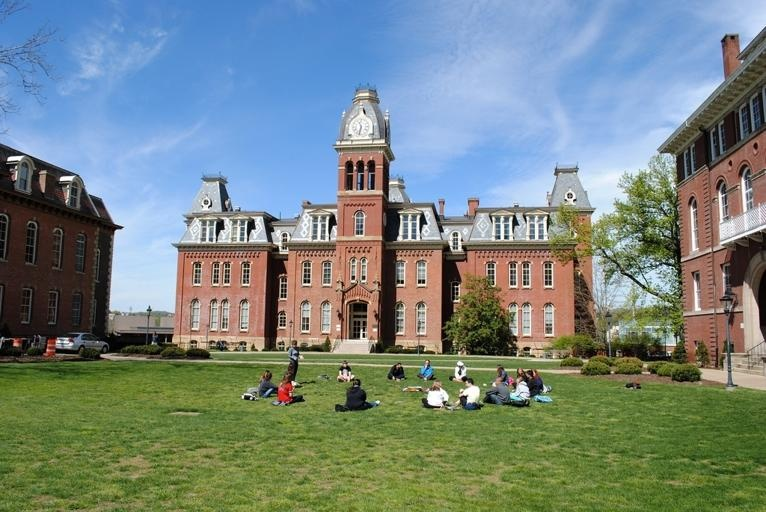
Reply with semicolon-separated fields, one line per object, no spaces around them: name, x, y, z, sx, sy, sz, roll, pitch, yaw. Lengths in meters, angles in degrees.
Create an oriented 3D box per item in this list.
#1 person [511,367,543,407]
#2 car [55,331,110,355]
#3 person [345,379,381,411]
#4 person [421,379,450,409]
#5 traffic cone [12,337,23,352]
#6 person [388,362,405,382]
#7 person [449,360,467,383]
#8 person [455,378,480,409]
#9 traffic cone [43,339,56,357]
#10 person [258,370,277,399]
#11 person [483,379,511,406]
person;6.302;5.808;28.105;1.176;0.902;1.689;-2;-2;-1
car;-21.611;6.252;45.470;1.371;1.592;4.138;1;3;9
person;-1.062;5.867;26.689;1.463;1.120;1.240;-2;-6;10
person;2.243;6.032;27.119;1.184;0.994;1.418;-2;34;10
traffic cone;-24.110;5.799;41.736;0.742;1.048;0.722;0;-9;-8
person;0.695;6.345;34.492;0.705;0.655;0.966;2;-13;0
person;3.878;6.019;33.371;0.747;1.070;2.336;1;3;3
person;3.535;5.758;26.877;1.102;1.414;1.149;2;0;-11
traffic cone;-21.725;5.965;41.312;1.118;1.060;1.059;2;-8;-17
person;-5.207;5.857;29.070;0.873;1.173;1.070;4;-10;-36
person;4.844;5.972;27.834;1.159;1.239;0.837;1;-15;28
